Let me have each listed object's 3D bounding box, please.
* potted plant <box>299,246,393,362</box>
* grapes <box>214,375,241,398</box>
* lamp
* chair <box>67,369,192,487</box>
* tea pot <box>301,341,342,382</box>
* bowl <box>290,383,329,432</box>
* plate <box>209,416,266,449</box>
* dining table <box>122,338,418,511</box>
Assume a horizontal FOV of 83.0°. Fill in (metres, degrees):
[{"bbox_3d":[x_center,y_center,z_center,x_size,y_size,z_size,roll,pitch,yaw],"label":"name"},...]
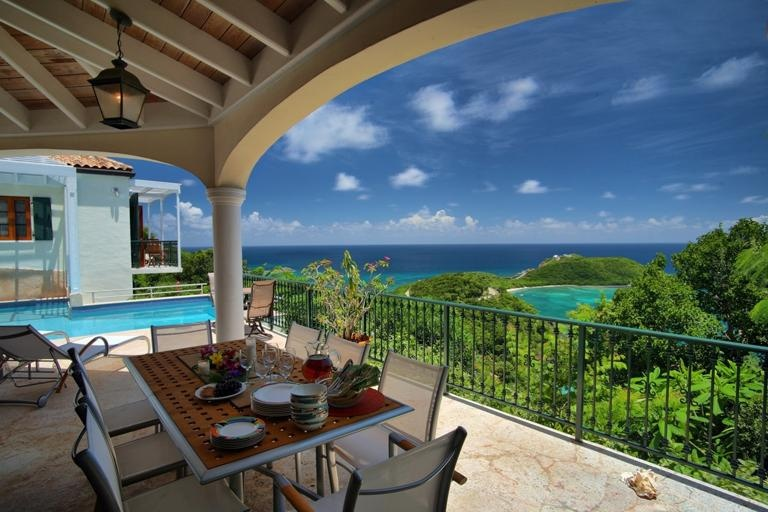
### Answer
[{"bbox_3d":[-0.370,0.632,6.875,1.448,1.578,1.434,0,-2,-32],"label":"potted plant"},{"bbox_3d":[-1.236,1.035,3.442,0.124,0.098,0.162,10,10,35],"label":"grapes"},{"bbox_3d":[-2.422,-1.692,3.962,0.506,1.088,0.424,-1,-2,25],"label":"lamp"},{"bbox_3d":[-2.044,1.428,3.521,0.709,1.143,0.658,-14,35,-23],"label":"chair"},{"bbox_3d":[-0.489,0.913,3.667,0.355,0.317,0.245,10,-14,-36],"label":"tea pot"},{"bbox_3d":[-0.546,1.096,3.144,0.258,0.296,0.172,0,-2,-13],"label":"bowl"},{"bbox_3d":[-1.006,1.234,3.006,0.362,0.156,0.218,1,-3,-16],"label":"plate"},{"bbox_3d":[-0.856,0.641,3.123,1.221,0.487,1.903,-9,17,-37],"label":"dining table"}]
